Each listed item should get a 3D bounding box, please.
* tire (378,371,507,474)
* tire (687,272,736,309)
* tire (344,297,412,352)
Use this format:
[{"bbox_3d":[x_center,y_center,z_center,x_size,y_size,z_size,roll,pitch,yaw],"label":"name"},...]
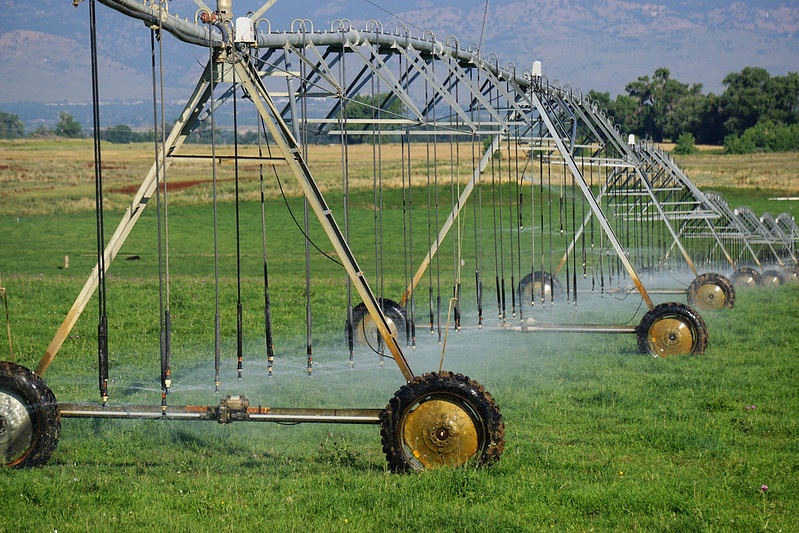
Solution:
[{"bbox_3d":[1.327,5.159,51.987,2.670,3.140,0.863,0,-2,3],"label":"tire"},{"bbox_3d":[12.193,1.028,63.545,1.169,1.421,0.417,0,5,4],"label":"tire"},{"bbox_3d":[-0.778,2.301,57.609,1.731,2.096,1.903,2,4,-1],"label":"tire"}]
